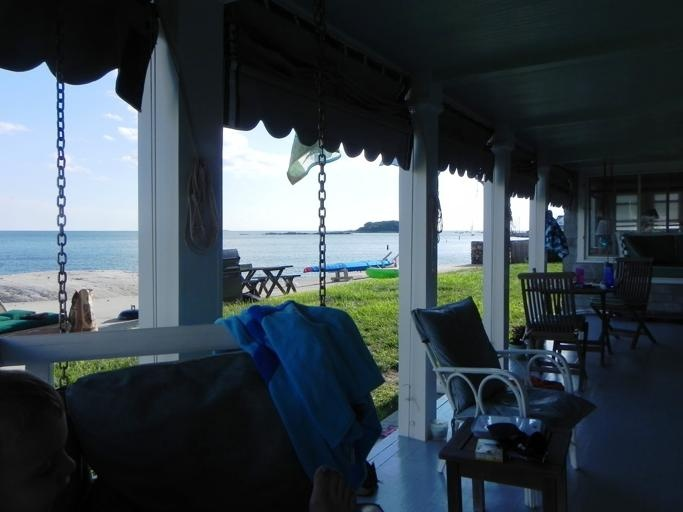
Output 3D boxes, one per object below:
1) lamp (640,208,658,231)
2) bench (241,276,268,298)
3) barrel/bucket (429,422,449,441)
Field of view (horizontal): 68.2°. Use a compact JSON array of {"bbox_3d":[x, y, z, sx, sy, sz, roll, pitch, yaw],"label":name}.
[{"bbox_3d":[5.671,-0.663,9.324,0.320,0.440,0.360,1,-1,0],"label":"lamp"},{"bbox_3d":[-2.239,0.822,12.935,0.558,0.435,1.901,-1,0,-12],"label":"bench"},{"bbox_3d":[0.731,1.317,3.774,0.107,0.110,0.117,0,-3,0],"label":"barrel/bucket"}]
